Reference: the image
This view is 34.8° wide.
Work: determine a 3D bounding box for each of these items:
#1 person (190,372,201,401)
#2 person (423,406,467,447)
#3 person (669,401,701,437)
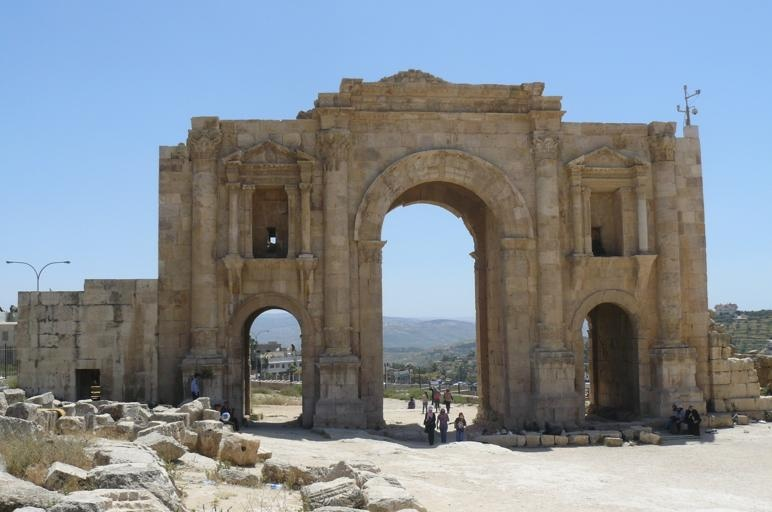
[{"bbox_3d":[-7.377,5.024,47.800,0.380,0.996,0.351,0,-10,-10],"label":"person"},{"bbox_3d":[2.375,6.866,49.433,1.594,1.373,0.611,-1,-1,13],"label":"person"},{"bbox_3d":[11.812,6.411,48.496,1.171,1.298,0.854,-3,-10,11],"label":"person"}]
